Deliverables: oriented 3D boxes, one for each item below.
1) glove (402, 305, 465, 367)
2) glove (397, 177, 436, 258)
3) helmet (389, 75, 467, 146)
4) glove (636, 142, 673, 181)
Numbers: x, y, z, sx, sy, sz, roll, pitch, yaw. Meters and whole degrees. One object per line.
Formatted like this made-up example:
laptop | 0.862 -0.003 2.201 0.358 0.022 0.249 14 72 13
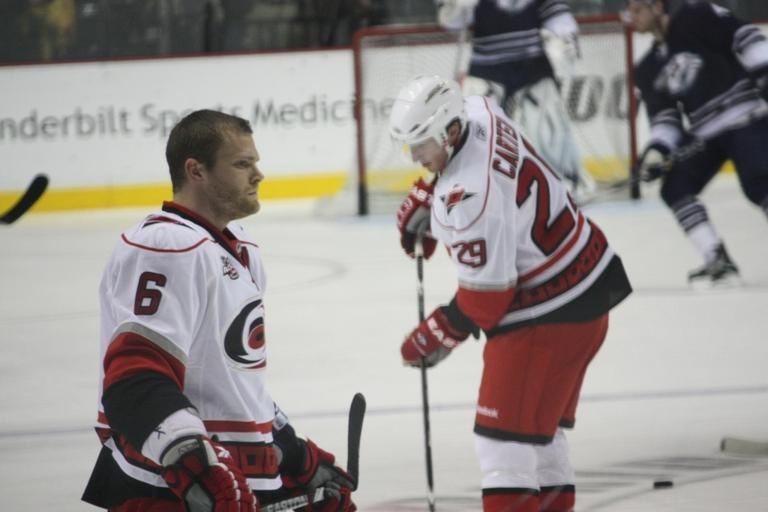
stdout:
glove | 0.192 0.350 5.212 0.172 0.299 0.108 52 30 11
glove | 0.132 -0.155 5.345 0.113 0.290 0.216 -2 10 -39
helmet | 0.156 -0.613 5.169 0.298 0.273 0.240 -23 15 -10
glove | 1.206 -0.376 5.668 0.186 0.257 0.062 4 38 9
